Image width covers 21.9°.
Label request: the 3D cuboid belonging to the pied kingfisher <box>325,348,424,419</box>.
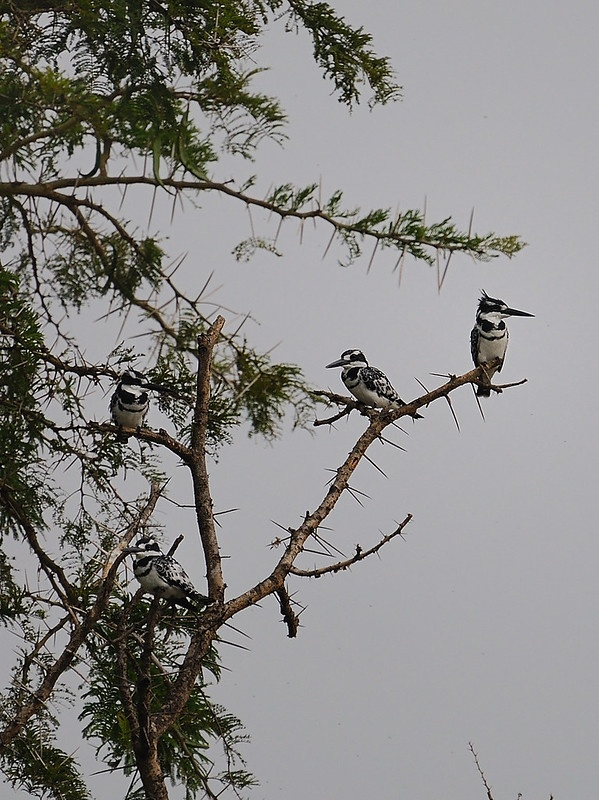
[{"bbox_3d":[0.521,-0.135,10.758,0.670,0.228,0.442,0,-88,-35],"label":"pied kingfisher"}]

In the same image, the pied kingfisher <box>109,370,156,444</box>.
[{"bbox_3d":[-1.141,0.008,10.214,0.222,0.510,0.519,-4,-68,-21],"label":"pied kingfisher"}]
